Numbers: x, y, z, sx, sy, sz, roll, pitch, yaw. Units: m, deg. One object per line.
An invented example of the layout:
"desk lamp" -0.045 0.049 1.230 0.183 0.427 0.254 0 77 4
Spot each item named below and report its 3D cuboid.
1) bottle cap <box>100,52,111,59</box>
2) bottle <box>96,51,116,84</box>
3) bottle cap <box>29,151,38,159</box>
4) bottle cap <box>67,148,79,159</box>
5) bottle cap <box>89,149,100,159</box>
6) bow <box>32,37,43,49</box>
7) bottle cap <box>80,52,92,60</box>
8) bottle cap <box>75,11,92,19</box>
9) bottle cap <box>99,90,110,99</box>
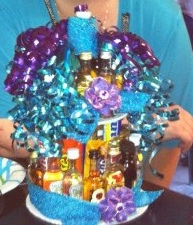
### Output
"bottle cap" 0.018 -0.107 0.474 0.017 0.007 0.014 1 26 -2
"bottle" 0.015 -0.088 0.497 0.039 0.077 0.030 1 50 1
"bottle cap" -0.157 0.102 0.615 0.023 0.019 0.015 2 99 6
"bottle cap" -0.046 0.078 0.483 0.024 0.020 0.012 0 95 2
"bottle cap" -0.005 0.079 0.496 0.021 0.019 0.026 -2 54 5
"bow" -0.116 -0.134 0.488 0.024 0.006 0.019 -13 92 13
"bottle cap" -0.019 -0.102 0.461 0.019 0.009 0.015 4 35 -1
"bottle cap" -0.025 -0.186 0.481 0.026 0.008 0.020 6 35 6
"bottle cap" 0.014 -0.035 0.484 0.021 0.017 0.014 -8 56 1
